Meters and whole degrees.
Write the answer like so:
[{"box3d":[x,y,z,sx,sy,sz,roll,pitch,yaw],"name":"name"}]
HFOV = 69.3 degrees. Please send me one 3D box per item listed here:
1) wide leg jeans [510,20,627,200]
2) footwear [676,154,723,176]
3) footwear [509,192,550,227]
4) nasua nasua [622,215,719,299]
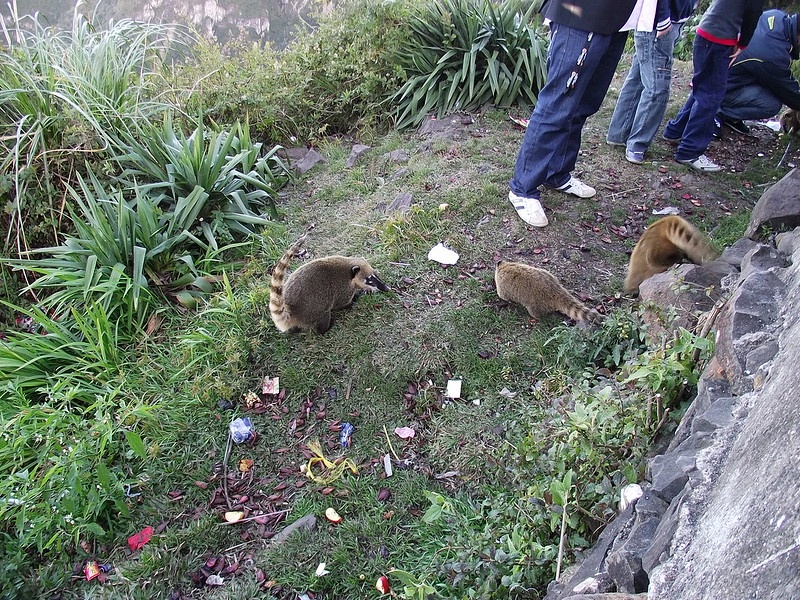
[{"box3d":[1.828,-1.948,6.207,0.792,2.558,1.078,26,61,27],"name":"wide leg jeans"},{"box3d":[3.508,-1.576,6.724,0.519,0.197,0.209,11,51,10],"name":"footwear"},{"box3d":[1.310,-0.902,5.939,0.199,0.185,0.465,-32,65,-12],"name":"footwear"},{"box3d":[2.357,-0.332,5.073,0.846,0.390,0.573,-3,10,36],"name":"nasua nasua"}]
